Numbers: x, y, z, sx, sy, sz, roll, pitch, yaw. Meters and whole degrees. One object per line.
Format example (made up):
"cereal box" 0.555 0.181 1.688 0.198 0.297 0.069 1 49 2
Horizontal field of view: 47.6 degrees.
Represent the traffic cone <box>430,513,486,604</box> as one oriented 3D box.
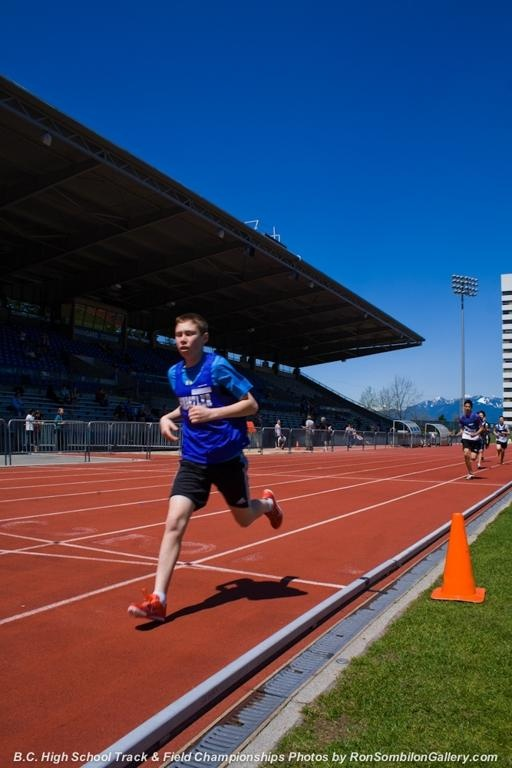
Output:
"traffic cone" 1.359 1.192 3.862 0.384 0.444 0.386 2 -2 -34
